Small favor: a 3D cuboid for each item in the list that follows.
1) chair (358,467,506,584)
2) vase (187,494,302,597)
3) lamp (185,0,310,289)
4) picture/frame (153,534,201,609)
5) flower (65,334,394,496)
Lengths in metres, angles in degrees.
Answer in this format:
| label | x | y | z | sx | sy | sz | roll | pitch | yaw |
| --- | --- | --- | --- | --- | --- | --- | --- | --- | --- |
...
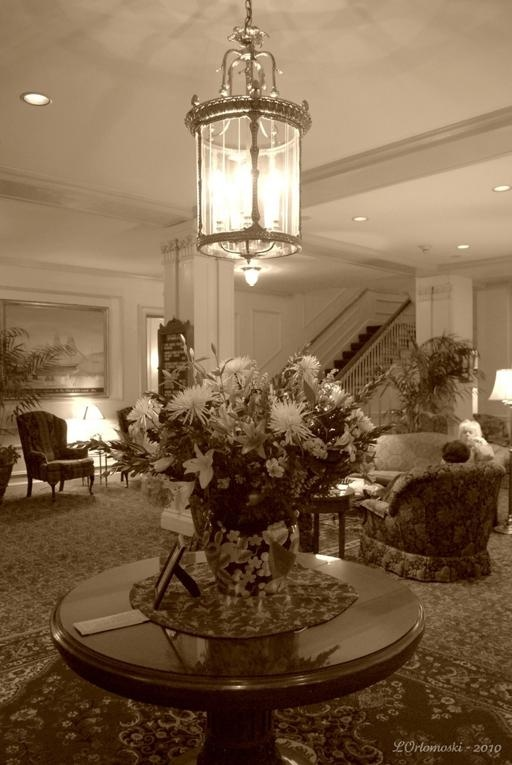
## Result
| label | x | y | z | sx | sy | sz | roll | pitch | yaw |
| --- | --- | --- | --- | --- | --- | --- | --- | --- | --- |
| chair | 1.207 | 0.963 | 4.295 | 0.830 | 0.758 | 0.910 | 0 | -1 | -23 |
| vase | -0.030 | 0.387 | 1.416 | 0.255 | 0.188 | 0.266 | 1 | -3 | -4 |
| lamp | -0.029 | -1.047 | 2.163 | 0.421 | 1.269 | 0.967 | 0 | -2 | 3 |
| picture/frame | -0.215 | 0.500 | 1.539 | 0.163 | 0.210 | 0.154 | 5 | -8 | -11 |
| flower | -0.054 | 0.138 | 1.444 | 0.709 | 0.465 | 0.417 | 0 | -2 | -17 |
